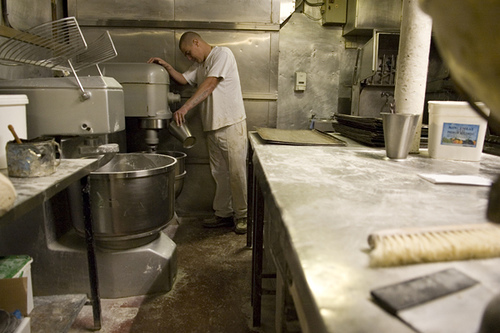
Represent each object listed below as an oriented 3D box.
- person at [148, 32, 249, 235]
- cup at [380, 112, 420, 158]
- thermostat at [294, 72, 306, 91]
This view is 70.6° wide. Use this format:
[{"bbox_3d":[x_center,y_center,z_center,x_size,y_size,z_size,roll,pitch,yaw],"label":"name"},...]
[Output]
[{"bbox_3d":[-0.578,-0.358,3.426,1.077,1.918,0.834,-1,1,3],"label":"person"},{"bbox_3d":[0.645,-0.149,1.577,0.096,0.218,0.139,1,12,-14],"label":"cup"},{"bbox_3d":[0.660,-1.122,4.673,0.153,0.239,0.089,2,14,6],"label":"thermostat"}]
